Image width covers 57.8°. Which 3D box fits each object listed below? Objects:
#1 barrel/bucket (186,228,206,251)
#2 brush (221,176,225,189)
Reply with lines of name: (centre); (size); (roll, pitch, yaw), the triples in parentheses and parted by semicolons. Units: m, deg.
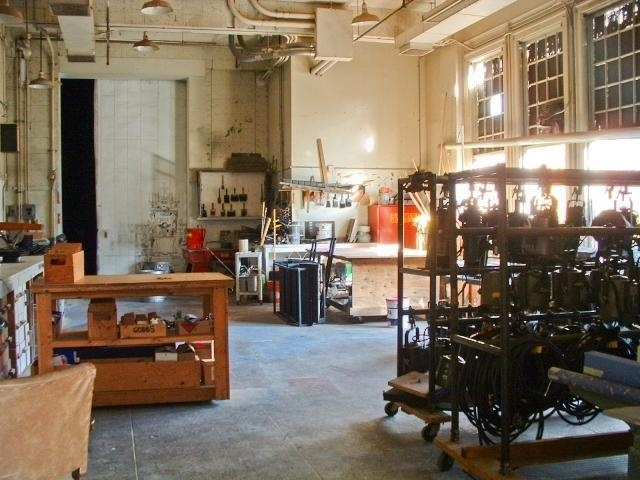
barrel/bucket: (-2.608, -0.029, 11.939); (0.471, 0.424, 0.364); (3, 0, -31)
brush: (-2.000, -1.172, 11.869); (0.065, 0.243, 0.022); (-2, 6, -15)
